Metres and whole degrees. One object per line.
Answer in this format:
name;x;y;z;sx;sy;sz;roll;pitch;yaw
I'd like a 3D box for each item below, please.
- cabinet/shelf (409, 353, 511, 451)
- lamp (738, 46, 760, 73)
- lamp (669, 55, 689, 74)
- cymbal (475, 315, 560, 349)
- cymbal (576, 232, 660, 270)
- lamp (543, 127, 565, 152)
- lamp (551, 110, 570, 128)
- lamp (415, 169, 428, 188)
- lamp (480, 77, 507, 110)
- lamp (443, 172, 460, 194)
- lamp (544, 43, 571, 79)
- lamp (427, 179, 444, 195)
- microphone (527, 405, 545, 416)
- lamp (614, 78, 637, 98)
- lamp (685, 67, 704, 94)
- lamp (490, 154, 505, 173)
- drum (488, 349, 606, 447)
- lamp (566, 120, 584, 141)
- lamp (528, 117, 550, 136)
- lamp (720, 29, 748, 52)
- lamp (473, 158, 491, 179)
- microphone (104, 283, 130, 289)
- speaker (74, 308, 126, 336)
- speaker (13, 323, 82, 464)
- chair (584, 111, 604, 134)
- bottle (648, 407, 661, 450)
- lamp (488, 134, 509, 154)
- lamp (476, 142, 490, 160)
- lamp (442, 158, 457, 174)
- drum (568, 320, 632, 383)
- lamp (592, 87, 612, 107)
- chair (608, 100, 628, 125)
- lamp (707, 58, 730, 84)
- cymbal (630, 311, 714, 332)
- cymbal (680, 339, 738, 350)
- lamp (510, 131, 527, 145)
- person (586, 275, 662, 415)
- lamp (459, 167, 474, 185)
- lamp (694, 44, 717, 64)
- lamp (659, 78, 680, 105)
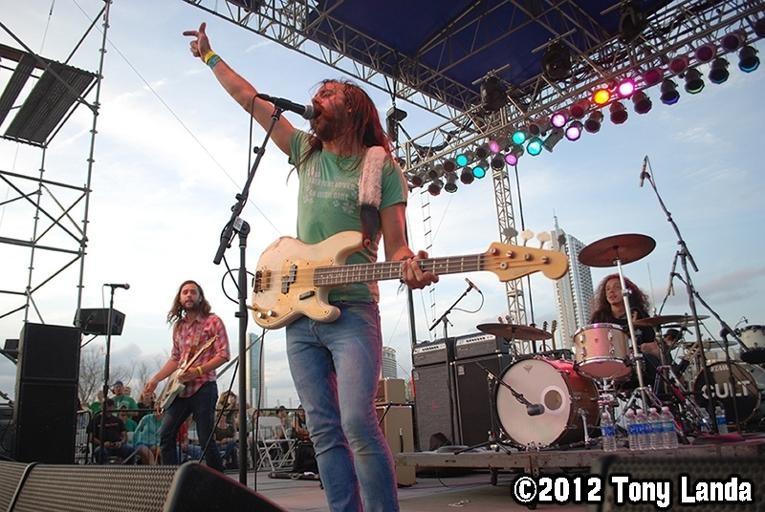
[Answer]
cabinet/shelf;1.099;2.095;7.091;1.356;1.228;0.841;-14;-25;30
lamp;5.639;-3.013;7.818;0.292;0.387;0.269;-15;-21;31
lamp;4.702;-3.019;8.089;0.268;0.249;0.265;-7;-56;47
cymbal;1.821;1.046;6.825;1.028;0.260;1.019;13;-23;2
cymbal;2.520;-0.027;5.499;0.772;0.310;0.679;-5;-18;4
lamp;3.218;-2.161;9.564;0.285;0.341;0.444;12;-24;-42
lamp;3.228;-2.490;9.322;0.287;0.311;0.284;24;-48;14
lamp;0.809;-1.667;11.088;0.352;0.254;0.224;8;-56;7
lamp;2.114;-3.116;9.853;0.479;0.515;0.498;-17;-22;35
lamp;1.428;-1.518;10.587;0.289;0.392;0.405;8;-49;4
lamp;3.055;-3.447;8.947;0.484;0.529;0.345;-12;-20;24
lamp;1.118;-1.482;10.809;0.343;0.290;0.451;19;19;14
microphone;1.506;1.520;5.028;0.159;0.092;0.159;4;-10;-21
lamp;4.107;-2.824;8.597;0.318;0.292;0.189;-15;-21;30
lamp;4.994;-2.805;8.145;0.318;0.341;0.338;12;-32;14
lamp;2.327;-1.864;10.252;0.290;0.322;0.286;12;-52;13
drum;1.679;1.535;5.317;0.746;0.910;0.949;11;-25;-35
lamp;3.501;-2.272;9.300;0.324;0.342;0.221;-11;-19;22
lamp;2.936;-2.419;9.518;0.343;0.218;0.352;-30;7;-34
lamp;5.358;-3.247;7.733;0.364;0.280;0.218;-2;-18;-7
lamp;1.976;-1.756;10.257;0.336;0.327;0.274;-6;-18;5
microphone;-3.775;0.433;7.173;0.114;0.120;0.339;-14;-8;18
speaker;-4.726;1.097;8.381;0.746;0.362;0.567;-6;-30;-5
speaker;-3.296;1.346;4.977;0.565;1.314;0.262;9;-22;-35
chair;3.816;-2.397;9.153;0.361;0.367;0.165;-3;-18;-2
bottle;2.462;1.560;4.607;0.118;0.334;0.373;-12;-20;24
lamp;2.302;-2.203;10.059;0.378;0.363;0.642;19;17;29
lamp;1.963;-2.052;10.107;0.230;0.297;0.297;-32;22;3
lamp;1.387;-1.857;10.589;0.263;0.261;0.198;27;34;26
drum;2.234;0.985;5.199;0.552;0.548;0.402;-9;-19;15
lamp;3.812;-2.755;8.843;0.302;0.286;0.160;-2;-18;-5
chair;4.052;-2.504;8.910;0.408;0.346;0.407;16;33;16
lamp;5.257;-2.875;7.965;0.378;0.356;0.378;7;30;24
cymbal;3.561;0.813;6.283;0.547;0.123;0.508;-1;-1;0
cymbal;5.205;1.442;8.184;0.455;0.103;0.450;4;-11;1
lamp;2.618;-2.262;9.720;0.289;0.242;0.186;0;-18;-12
person;3.047;0.996;6.153;0.603;1.440;1.011;-4;-3;-23
lamp;1.719;-1.624;10.356;0.305;0.299;0.325;4;14;10
lamp;5.011;-3.107;7.918;0.298;0.292;0.274;-5;30;44
lamp;4.746;-2.708;8.381;0.310;0.362;0.308;-9;-18;14
